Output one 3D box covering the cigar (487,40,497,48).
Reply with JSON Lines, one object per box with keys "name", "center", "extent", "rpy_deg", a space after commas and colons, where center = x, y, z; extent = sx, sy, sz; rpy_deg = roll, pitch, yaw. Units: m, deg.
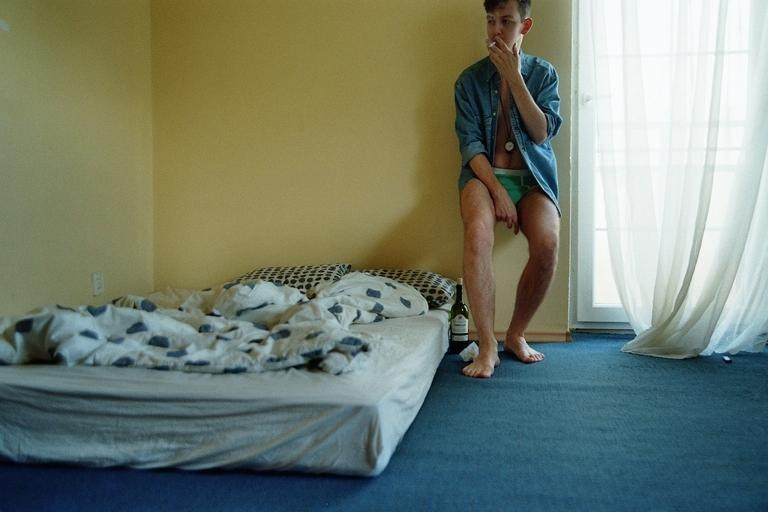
{"name": "cigar", "center": [0.495, -0.973, 2.726], "extent": [0.033, 0.008, 0.034], "rpy_deg": [31, 79, 32]}
